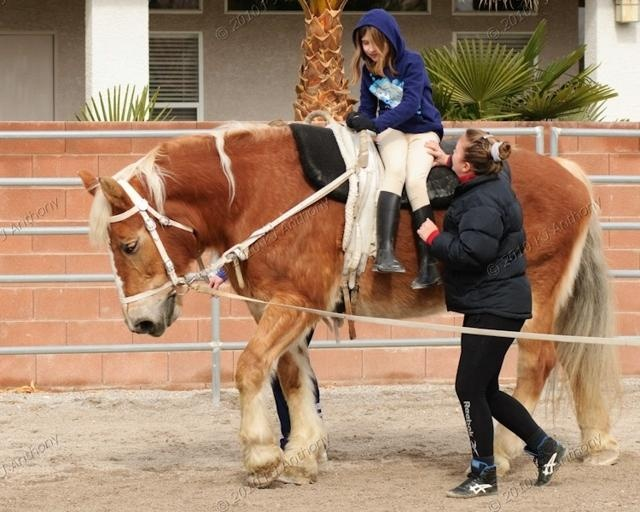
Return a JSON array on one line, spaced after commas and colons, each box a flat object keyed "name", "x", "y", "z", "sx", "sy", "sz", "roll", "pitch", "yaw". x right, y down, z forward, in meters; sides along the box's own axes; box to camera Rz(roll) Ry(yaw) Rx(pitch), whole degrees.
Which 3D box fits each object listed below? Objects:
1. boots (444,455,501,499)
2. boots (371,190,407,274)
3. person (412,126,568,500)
[{"name": "boots", "x": 1.155, "y": 1.803, "z": 12.710, "sx": 0.537, "sy": 0.344, "sz": 0.201, "roll": -1, "pitch": 1, "yaw": 1}, {"name": "boots", "x": 0.544, "y": -0.195, "z": 12.898, "sx": 0.238, "sy": 0.651, "sz": 0.188, "roll": -1, "pitch": 6, "yaw": 2}, {"name": "person", "x": 1.334, "y": 0.454, "z": 12.777, "sx": 1.038, "sy": 2.938, "sz": 0.491, "roll": -1, "pitch": 6, "yaw": 3}]
